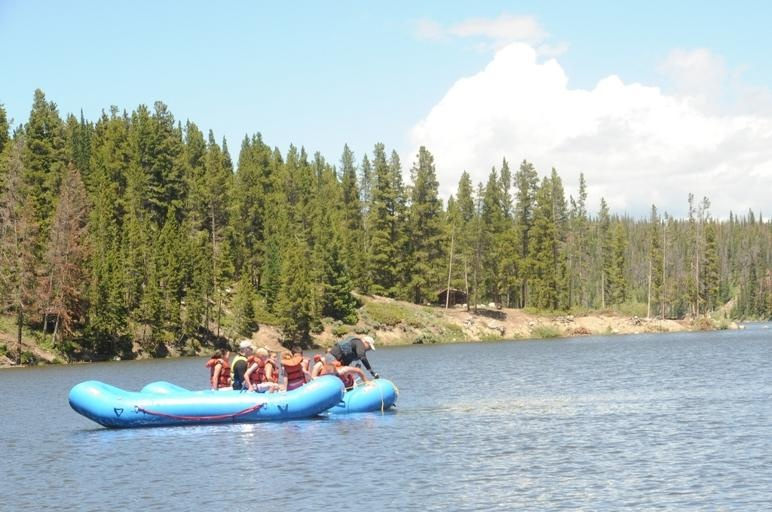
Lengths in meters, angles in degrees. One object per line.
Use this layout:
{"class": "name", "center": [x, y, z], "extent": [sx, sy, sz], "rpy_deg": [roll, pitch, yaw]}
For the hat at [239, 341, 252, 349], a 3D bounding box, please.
{"class": "hat", "center": [-10.049, 6.385, 77.338], "extent": [0.663, 0.383, 0.498], "rpy_deg": [-11, 17, 10]}
